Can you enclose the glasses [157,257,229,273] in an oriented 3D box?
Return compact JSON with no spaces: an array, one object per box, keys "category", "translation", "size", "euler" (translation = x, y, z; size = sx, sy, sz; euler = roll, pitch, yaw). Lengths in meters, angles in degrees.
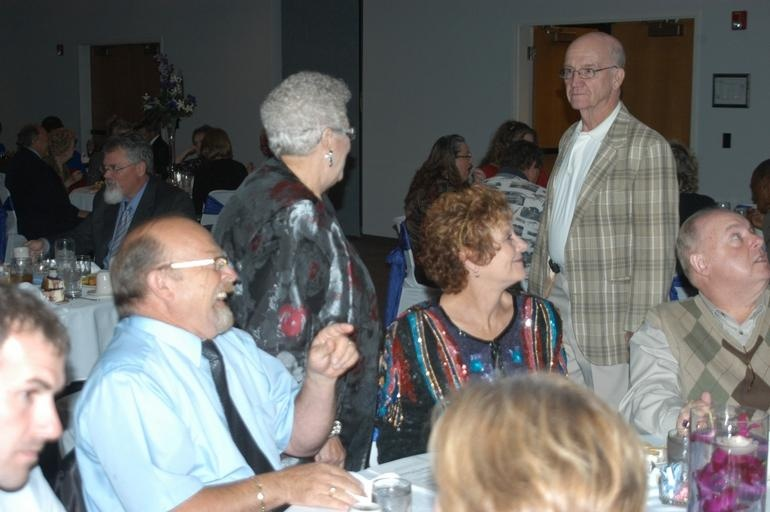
[{"category":"glasses","translation":[-0.591,0.018,2.091],"size":[0.207,0.038,0.047],"euler":[-2,4,-40]}]
